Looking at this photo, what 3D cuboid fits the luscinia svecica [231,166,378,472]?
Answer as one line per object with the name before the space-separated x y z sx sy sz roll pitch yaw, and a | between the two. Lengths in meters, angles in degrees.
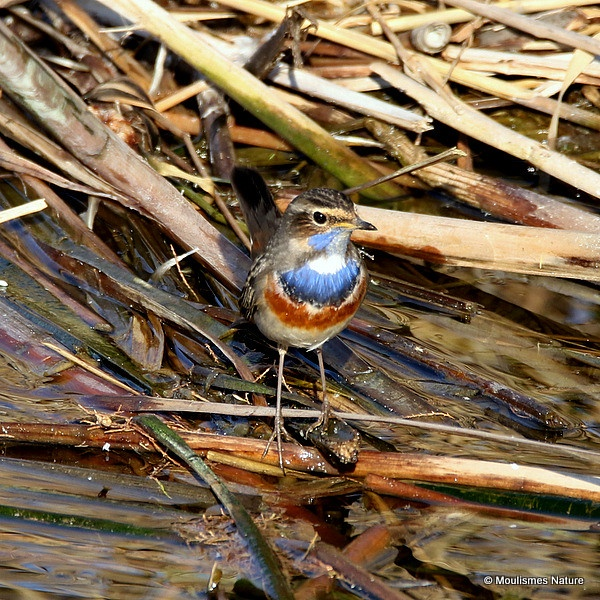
luscinia svecica | -0.038 -0.051 4.779 0.964 1.486 1.870 -8 26 -19
